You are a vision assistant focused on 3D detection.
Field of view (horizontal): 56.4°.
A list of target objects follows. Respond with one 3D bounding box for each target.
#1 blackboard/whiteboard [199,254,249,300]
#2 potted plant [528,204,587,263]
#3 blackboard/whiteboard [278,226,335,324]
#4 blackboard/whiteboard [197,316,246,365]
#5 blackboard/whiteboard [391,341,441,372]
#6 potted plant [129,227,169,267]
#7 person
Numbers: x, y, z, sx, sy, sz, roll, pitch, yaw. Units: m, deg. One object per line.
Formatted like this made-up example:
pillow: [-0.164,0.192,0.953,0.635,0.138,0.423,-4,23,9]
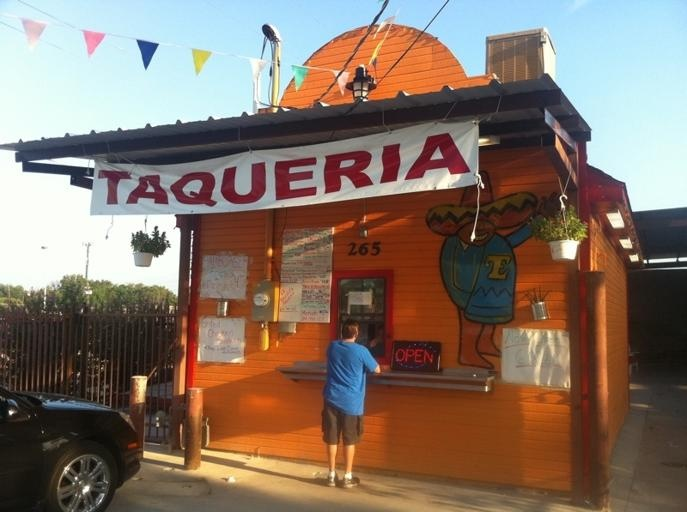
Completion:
blackboard/whiteboard: [-2.130,0.397,11.491,0.736,0.748,0.087,0,-8,20]
potted plant: [3.187,-0.313,9.438,0.737,0.795,0.713,1,-3,7]
blackboard/whiteboard: [-0.644,0.330,10.956,0.967,1.602,0.235,2,2,21]
blackboard/whiteboard: [-2.153,1.533,11.387,0.784,0.820,0.096,-2,-9,21]
blackboard/whiteboard: [1.123,1.573,9.979,0.767,0.456,0.302,2,2,6]
potted plant: [-3.069,-0.149,9.947,0.477,0.608,0.516,8,-12,-29]
person: [0.054,2.239,9.588,0.756,2.511,0.392,1,2,-4]
